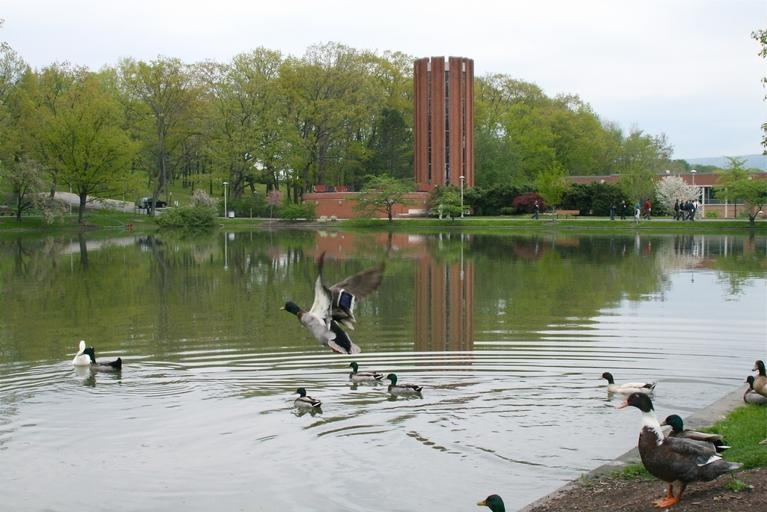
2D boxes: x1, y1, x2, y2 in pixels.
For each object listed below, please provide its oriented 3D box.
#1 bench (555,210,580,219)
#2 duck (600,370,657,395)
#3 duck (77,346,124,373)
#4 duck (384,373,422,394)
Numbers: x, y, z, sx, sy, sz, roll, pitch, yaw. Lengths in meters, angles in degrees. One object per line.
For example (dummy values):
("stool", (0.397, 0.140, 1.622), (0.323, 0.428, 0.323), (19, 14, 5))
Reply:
("bench", (17.143, -3.982, 90.389), (2.150, 0.745, 3.474), (-2, 0, 10))
("duck", (6.746, 3.494, 26.540), (1.441, 0.540, 1.294), (-2, 0, 12))
("duck", (-8.458, 3.048, 28.476), (1.587, 0.640, 0.459), (-2, 1, 21))
("duck", (0.555, 3.610, 26.695), (1.355, 0.544, 0.371), (-3, -27, 17))
